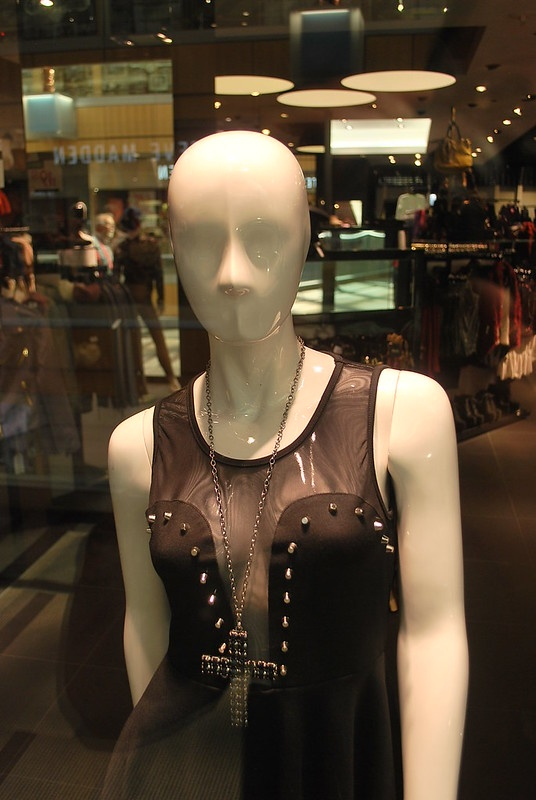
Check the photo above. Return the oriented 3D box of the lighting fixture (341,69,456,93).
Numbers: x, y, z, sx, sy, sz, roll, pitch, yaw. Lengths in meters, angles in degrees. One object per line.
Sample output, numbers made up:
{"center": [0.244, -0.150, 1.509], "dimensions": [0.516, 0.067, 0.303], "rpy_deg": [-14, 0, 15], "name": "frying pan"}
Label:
{"center": [0.309, -0.747, 1.523], "dimensions": [0.267, 0.046, 0.024], "rpy_deg": [-2, 17, -3], "name": "lighting fixture"}
